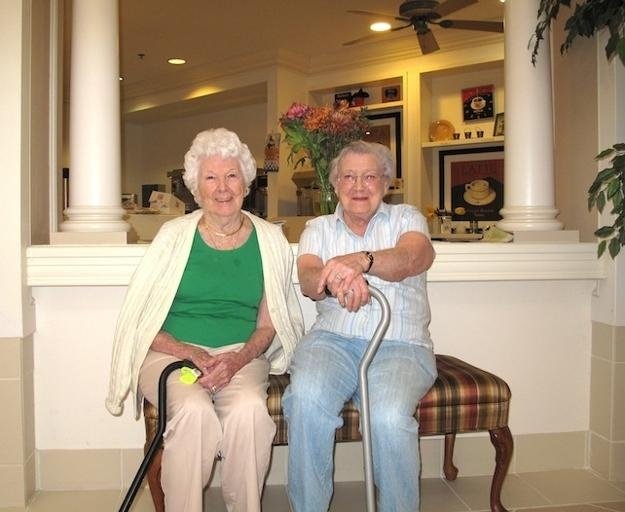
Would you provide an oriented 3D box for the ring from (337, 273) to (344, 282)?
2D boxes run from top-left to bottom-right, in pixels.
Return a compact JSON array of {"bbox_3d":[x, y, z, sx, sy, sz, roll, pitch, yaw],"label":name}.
[{"bbox_3d":[0.094,0.075,1.937,0.020,0.009,0.025,0,-24,6],"label":"ring"}]

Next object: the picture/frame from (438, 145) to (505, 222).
[{"bbox_3d":[1.599,-0.718,5.597,0.762,0.822,0.076,-10,-5,36],"label":"picture/frame"}]

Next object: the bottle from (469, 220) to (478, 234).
[{"bbox_3d":[1.619,-0.276,5.642,0.101,0.179,0.101,-1,-1,0],"label":"bottle"}]

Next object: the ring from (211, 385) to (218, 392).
[{"bbox_3d":[-0.359,0.487,2.050,0.020,0.029,0.009,1,9,10],"label":"ring"}]

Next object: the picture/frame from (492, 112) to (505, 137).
[{"bbox_3d":[1.788,-1.262,5.426,0.091,0.244,0.210,-1,5,11],"label":"picture/frame"}]

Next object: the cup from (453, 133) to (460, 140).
[{"bbox_3d":[1.426,-1.180,5.600,0.063,0.057,0.069,1,-3,0],"label":"cup"}]

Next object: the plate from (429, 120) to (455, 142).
[{"bbox_3d":[1.278,-1.212,5.671,0.221,0.273,0.233,0,1,-12],"label":"plate"}]

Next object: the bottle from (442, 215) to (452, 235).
[{"bbox_3d":[1.339,-0.304,5.649,0.094,0.173,0.144,-1,5,9],"label":"bottle"}]
